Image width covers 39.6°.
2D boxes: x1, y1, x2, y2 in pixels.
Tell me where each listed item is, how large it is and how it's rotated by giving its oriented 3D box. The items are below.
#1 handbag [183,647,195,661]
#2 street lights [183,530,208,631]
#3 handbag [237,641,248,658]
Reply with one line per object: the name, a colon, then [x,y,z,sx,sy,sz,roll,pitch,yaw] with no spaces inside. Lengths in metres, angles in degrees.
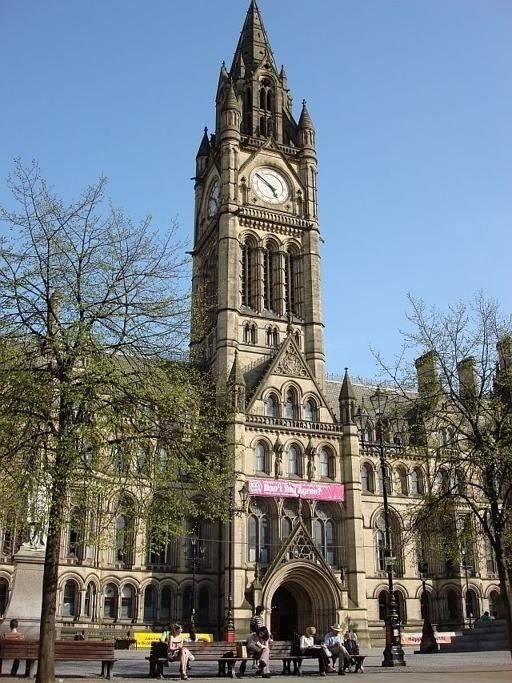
handbag: [-1.474,6.964,15.809,0.226,0.234,0.680,1,-22,-4]
street lights: [-3.297,11.530,38.821,0.591,2.219,0.612,-29,-60,21]
handbag: [-0.310,7.293,16.652,0.221,0.403,0.410,2,-9,-8]
